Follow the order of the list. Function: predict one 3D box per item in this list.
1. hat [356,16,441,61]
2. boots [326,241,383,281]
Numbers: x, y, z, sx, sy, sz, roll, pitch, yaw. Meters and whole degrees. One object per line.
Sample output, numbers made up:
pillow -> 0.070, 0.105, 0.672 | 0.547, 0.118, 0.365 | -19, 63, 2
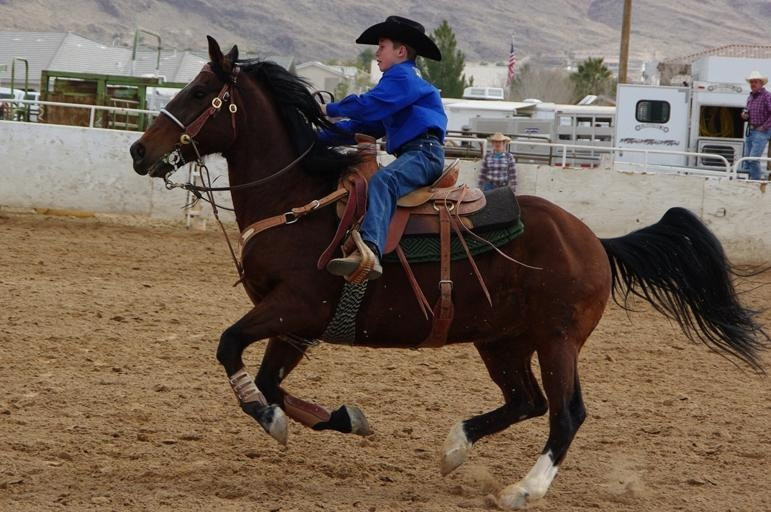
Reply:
hat -> 0.129, -1.985, 8.555 | 0.815, 0.280, 0.564 | 12, 0, 6
boots -> -0.297, -0.091, 7.901 | 0.228, 0.406, 0.446 | -26, 50, -30
